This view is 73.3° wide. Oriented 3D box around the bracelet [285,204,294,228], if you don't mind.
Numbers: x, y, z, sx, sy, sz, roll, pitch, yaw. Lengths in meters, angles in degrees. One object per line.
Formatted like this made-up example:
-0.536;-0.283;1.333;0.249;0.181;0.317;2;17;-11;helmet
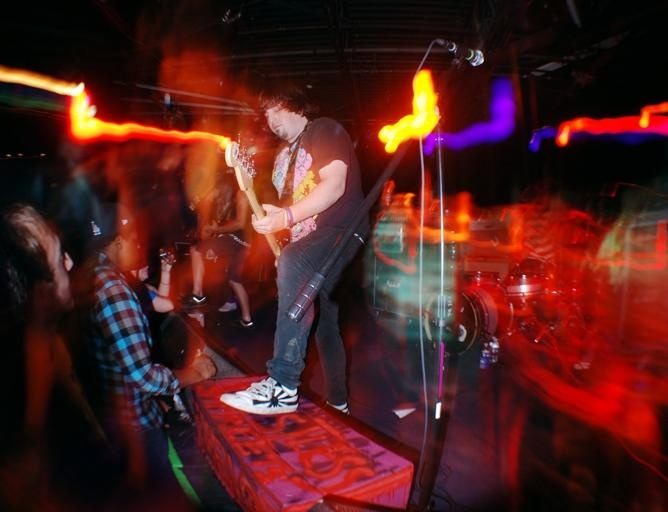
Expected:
-0.316;-0.274;3.238;0.043;0.120;0.101;-2;-15;-4;bracelet

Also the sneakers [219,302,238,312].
-1.686;0.814;7.133;0.253;0.268;0.119;4;-4;-28;sneakers

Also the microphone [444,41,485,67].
1.025;-1.565;3.436;0.238;0.178;0.520;3;14;22;microphone

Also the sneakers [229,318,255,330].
-1.333;0.979;6.546;0.357;0.156;0.141;9;-9;7;sneakers

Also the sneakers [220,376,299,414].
-0.518;1.021;3.229;0.479;0.228;0.251;8;-12;-13;sneakers

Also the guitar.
-0.649;-0.421;3.587;0.386;0.988;0.575;-4;12;-10;guitar
